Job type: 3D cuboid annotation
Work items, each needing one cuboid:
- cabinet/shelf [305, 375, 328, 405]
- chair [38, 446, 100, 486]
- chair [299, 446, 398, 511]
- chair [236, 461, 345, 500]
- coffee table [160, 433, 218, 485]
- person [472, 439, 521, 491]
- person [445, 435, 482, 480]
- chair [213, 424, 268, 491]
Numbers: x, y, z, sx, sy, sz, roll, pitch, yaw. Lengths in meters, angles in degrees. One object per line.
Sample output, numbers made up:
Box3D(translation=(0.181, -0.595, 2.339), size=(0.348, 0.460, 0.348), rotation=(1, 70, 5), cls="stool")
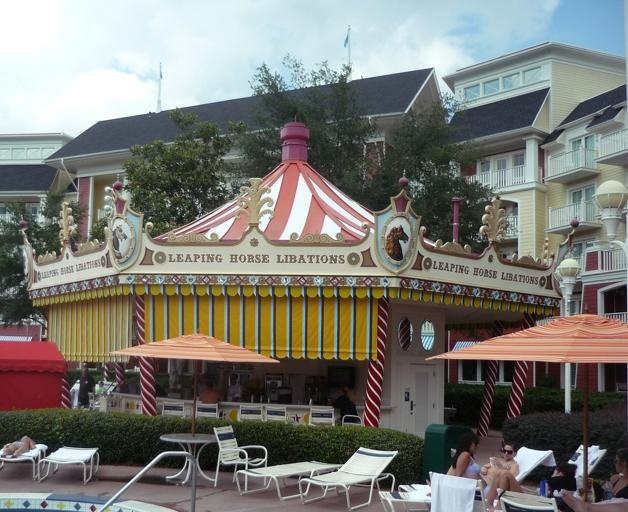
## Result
Box3D(translation=(0.090, 4.091, 44.772), size=(0.741, 0.823, 0.636), rotation=(3, 6, 1), cls="cabinet/shelf")
Box3D(translation=(-6.647, 5.505, 39.612), size=(1.611, 0.932, 2.160), rotation=(3, 6, -11), cls="chair")
Box3D(translation=(1.159, 5.826, 38.227), size=(1.298, 1.129, 2.311), rotation=(-2, -4, 36), cls="chair")
Box3D(translation=(-0.522, 5.934, 38.913), size=(1.576, 0.841, 2.829), rotation=(-2, -2, 43), cls="chair")
Box3D(translation=(-3.332, 5.517, 39.176), size=(1.270, 1.527, 1.351), rotation=(4, -6, -39), cls="coffee table")
Box3D(translation=(4.668, 5.326, 37.098), size=(0.902, 1.157, 0.871), rotation=(-1, -5, 27), cls="person")
Box3D(translation=(3.759, 4.995, 36.476), size=(0.729, 1.058, 0.770), rotation=(-2, -7, 20), cls="person")
Box3D(translation=(-2.043, 5.409, 39.713), size=(1.121, 1.815, 1.085), rotation=(-3, -6, 36), cls="chair")
